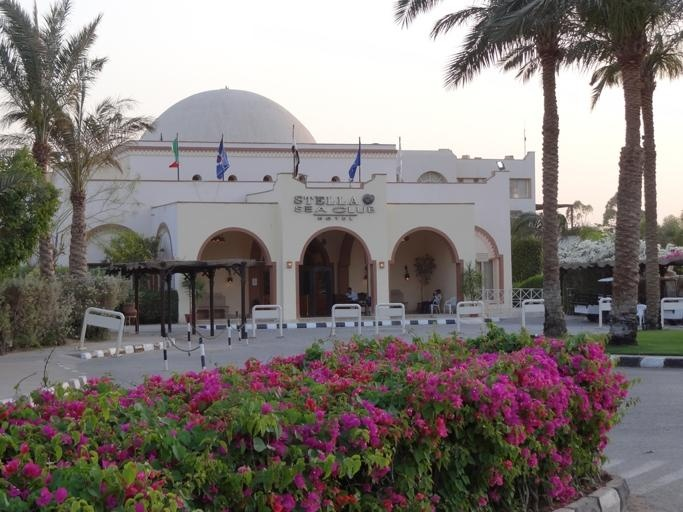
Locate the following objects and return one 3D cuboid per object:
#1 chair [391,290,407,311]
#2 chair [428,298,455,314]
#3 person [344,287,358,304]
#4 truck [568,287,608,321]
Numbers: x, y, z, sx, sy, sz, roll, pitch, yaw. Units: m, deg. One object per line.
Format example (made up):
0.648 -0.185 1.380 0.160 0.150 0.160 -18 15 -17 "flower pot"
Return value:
2.616 1.900 39.405 0.706 1.069 0.734 0 0 -20 "chair"
4.345 2.143 36.234 0.820 1.161 0.792 3 -4 -13 "chair"
0.424 1.510 33.605 0.507 0.906 0.491 0 -4 3 "person"
9.028 1.735 30.982 1.181 1.010 1.487 1 -2 -20 "truck"
